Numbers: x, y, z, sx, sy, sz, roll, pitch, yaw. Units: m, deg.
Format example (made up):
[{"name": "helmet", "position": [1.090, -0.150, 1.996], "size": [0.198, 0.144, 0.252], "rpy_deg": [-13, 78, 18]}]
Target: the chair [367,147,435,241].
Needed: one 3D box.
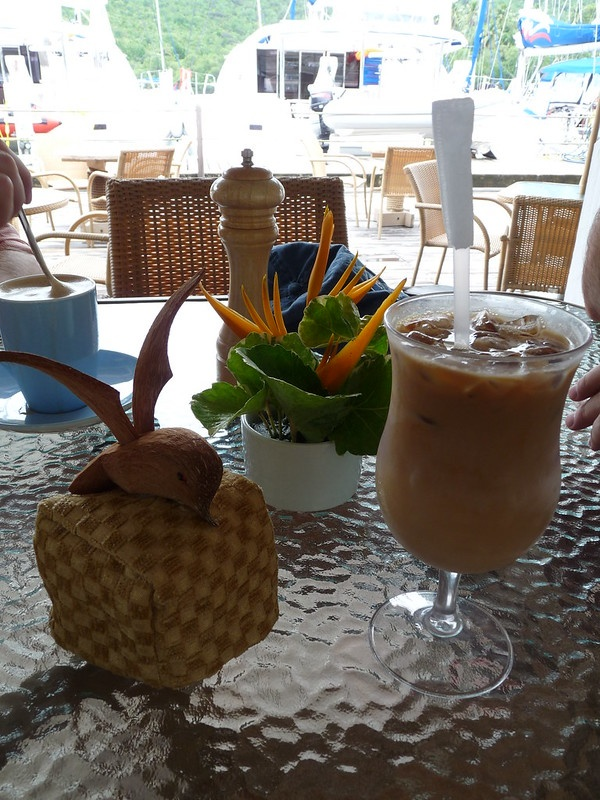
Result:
[{"name": "chair", "position": [0.854, -1.901, 5.562], "size": [0.570, 0.669, 0.548], "rpy_deg": [-17, 33, -32]}]

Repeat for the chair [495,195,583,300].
[{"name": "chair", "position": [1.119, -0.723, 3.137], "size": [0.400, 0.547, 0.397], "rpy_deg": [-4, 18, -13]}]

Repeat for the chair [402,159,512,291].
[{"name": "chair", "position": [0.963, -1.019, 3.779], "size": [0.598, 0.667, 0.494], "rpy_deg": [15, 28, 34]}]

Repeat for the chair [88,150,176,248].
[{"name": "chair", "position": [-1.103, -1.309, 4.094], "size": [0.524, 0.644, 0.560], "rpy_deg": [8, 23, 30]}]

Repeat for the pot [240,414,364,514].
[{"name": "pot", "position": [-0.003, 0.056, 0.534], "size": [0.091, 0.046, 0.082], "rpy_deg": [7, 22, 12]}]

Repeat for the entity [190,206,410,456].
[{"name": "entity", "position": [-0.033, -0.059, 0.533], "size": [0.216, 0.208, 0.217], "rpy_deg": [2, 11, 3]}]

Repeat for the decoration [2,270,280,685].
[{"name": "decoration", "position": [-0.069, 0.047, 0.342], "size": [0.113, 0.206, 0.133], "rpy_deg": [24, 35, 31]}]
